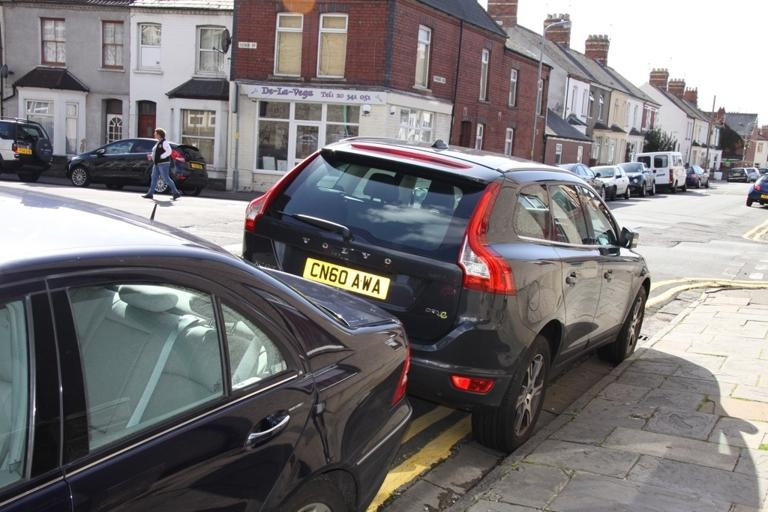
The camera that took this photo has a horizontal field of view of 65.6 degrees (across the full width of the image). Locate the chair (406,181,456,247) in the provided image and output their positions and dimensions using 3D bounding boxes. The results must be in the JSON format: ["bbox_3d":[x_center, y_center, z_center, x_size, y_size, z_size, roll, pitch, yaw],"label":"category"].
[{"bbox_3d":[0.348,-0.321,4.422,0.294,0.550,0.130,12,-23,21],"label":"chair"}]

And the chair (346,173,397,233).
[{"bbox_3d":[-0.075,-0.433,4.832,0.327,0.507,0.236,18,-14,11],"label":"chair"}]

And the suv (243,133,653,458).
[{"bbox_3d":[1.074,-0.027,5.711,2.100,1.610,3.866,11,16,35],"label":"suv"}]

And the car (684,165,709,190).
[{"bbox_3d":[26.763,-6.907,51.671,2.009,1.510,4.800,4,12,36],"label":"car"}]

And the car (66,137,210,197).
[{"bbox_3d":[-8.834,-3.333,21.766,4.843,1.632,2.176,6,7,11],"label":"car"}]
